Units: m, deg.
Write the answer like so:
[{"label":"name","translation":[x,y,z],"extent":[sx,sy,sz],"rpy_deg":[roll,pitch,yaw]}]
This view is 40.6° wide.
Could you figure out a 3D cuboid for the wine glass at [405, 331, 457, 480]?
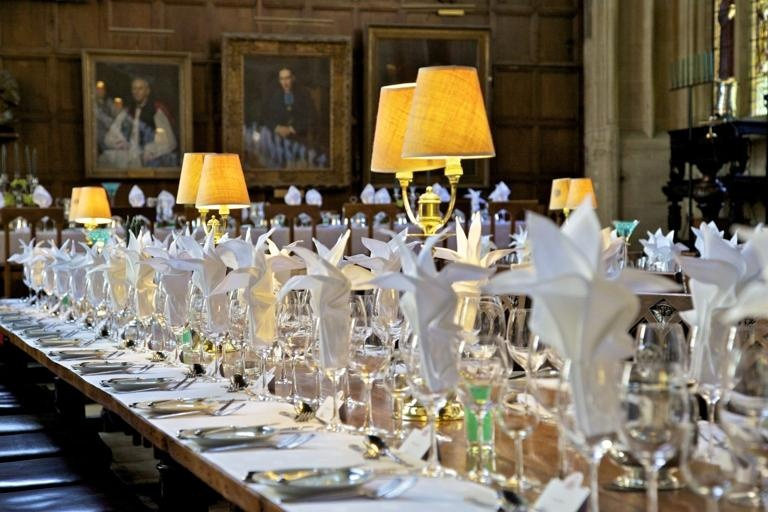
[{"label":"wine glass","translation":[0.174,0.544,3.905],"extent":[0.167,0.528,0.245],"rpy_deg":[-2,4,-9]}]

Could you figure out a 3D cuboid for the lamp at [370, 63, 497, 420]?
[{"label":"lamp","translation":[0.228,-0.052,4.954],"extent":[0.486,1.587,0.703],"rpy_deg":[3,-6,-38]}]

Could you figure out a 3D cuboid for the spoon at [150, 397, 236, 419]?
[{"label":"spoon","translation":[-0.805,0.629,4.338],"extent":[0.227,0.041,0.133],"rpy_deg":[-9,9,-3]}]

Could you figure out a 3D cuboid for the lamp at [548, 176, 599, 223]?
[{"label":"lamp","translation":[1.430,-0.463,7.928],"extent":[0.288,0.297,0.283],"rpy_deg":[-5,25,-39]}]

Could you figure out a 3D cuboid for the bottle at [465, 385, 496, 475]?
[{"label":"bottle","translation":[0.361,0.651,3.993],"extent":[0.095,0.093,0.336],"rpy_deg":[4,46,1]}]

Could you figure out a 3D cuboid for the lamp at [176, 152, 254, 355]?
[{"label":"lamp","translation":[-1.068,-0.147,6.630],"extent":[0.428,0.994,0.423],"rpy_deg":[2,3,25]}]

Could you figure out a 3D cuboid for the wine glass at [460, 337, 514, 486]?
[{"label":"wine glass","translation":[0.396,0.565,3.913],"extent":[0.163,0.545,0.275],"rpy_deg":[1,4,26]}]
